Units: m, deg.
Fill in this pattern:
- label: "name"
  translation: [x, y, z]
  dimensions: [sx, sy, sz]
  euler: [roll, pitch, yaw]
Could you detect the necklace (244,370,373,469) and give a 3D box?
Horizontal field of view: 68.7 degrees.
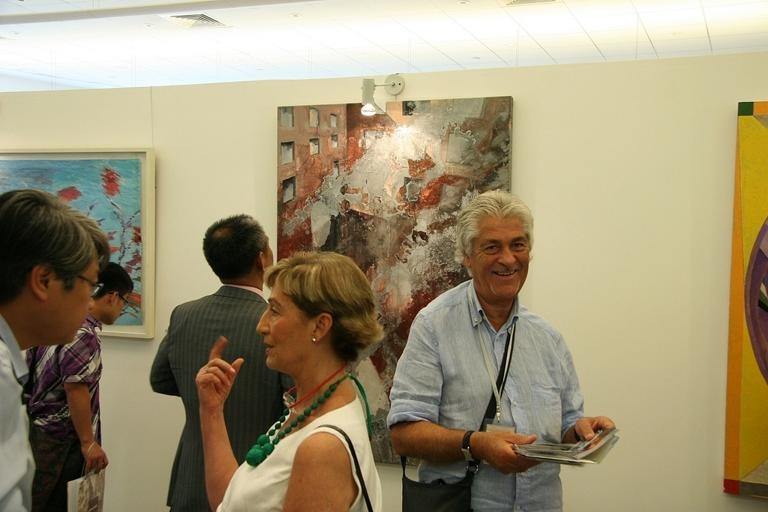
- label: "necklace"
  translation: [-0.349, 0.840, 3.047]
  dimensions: [0.659, 0.224, 0.703]
  euler: [-46, -26, 21]
